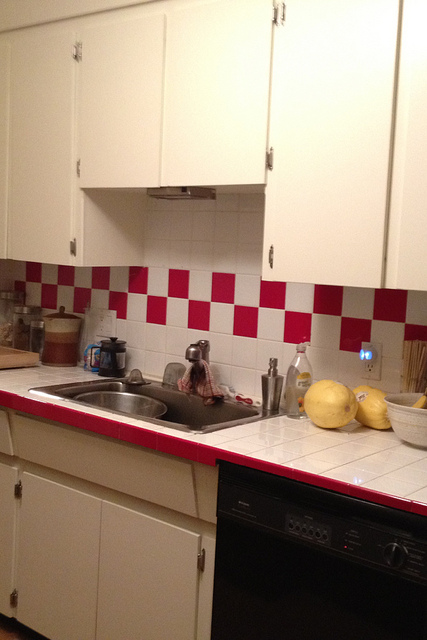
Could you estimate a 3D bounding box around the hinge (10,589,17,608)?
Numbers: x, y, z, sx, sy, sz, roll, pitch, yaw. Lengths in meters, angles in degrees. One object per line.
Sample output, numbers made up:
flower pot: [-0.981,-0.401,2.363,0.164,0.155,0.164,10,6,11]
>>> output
hinge: [-0.672,0.934,1.694,0.024,0.047,0.043,2,4,-25]

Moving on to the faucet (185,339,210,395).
faucet: [-0.055,0.168,1.817,0.065,0.187,0.206,2,3,5]

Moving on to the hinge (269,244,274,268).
hinge: [0.155,-0.172,1.353,0.006,0.060,0.016,0,4,-32]

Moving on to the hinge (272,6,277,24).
hinge: [0.157,-0.787,1.294,0.007,0.037,0.018,0,4,-29]

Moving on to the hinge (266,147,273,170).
hinge: [0.148,-0.427,1.334,0.002,0.054,0.024,-1,5,-41]

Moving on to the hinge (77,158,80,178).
hinge: [-0.486,-0.547,1.813,0.012,0.041,0.028,3,0,-29]

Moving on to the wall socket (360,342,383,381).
wall socket: [0.476,0.122,1.523,0.067,0.110,0.013,5,5,44]

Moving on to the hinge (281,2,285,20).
hinge: [0.175,-0.784,1.276,0.008,0.040,0.004,4,4,32]

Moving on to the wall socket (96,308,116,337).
wall socket: [-0.472,0.008,2.231,0.011,0.124,0.114,1,2,-42]

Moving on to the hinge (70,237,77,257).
hinge: [-0.516,-0.269,1.858,0.028,0.064,0.009,3,4,22]

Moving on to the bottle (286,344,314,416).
bottle: [0.262,0.184,1.531,0.080,0.217,0.063,2,3,-4]
